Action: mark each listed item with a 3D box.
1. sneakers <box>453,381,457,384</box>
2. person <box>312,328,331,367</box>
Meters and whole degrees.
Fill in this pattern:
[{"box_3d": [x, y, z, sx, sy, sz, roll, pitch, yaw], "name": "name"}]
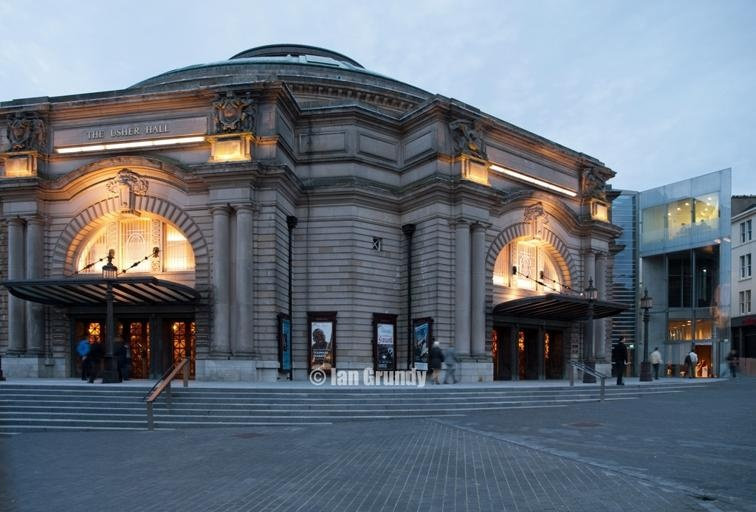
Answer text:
[{"box_3d": [3.920, 6.373, 51.142, 0.151, 0.136, 0.106, 9, -21, -26], "name": "sneakers"}, {"box_3d": [-2.969, 4.828, 53.025, 0.990, 2.061, 0.271, -1, -12, -2], "name": "person"}]
